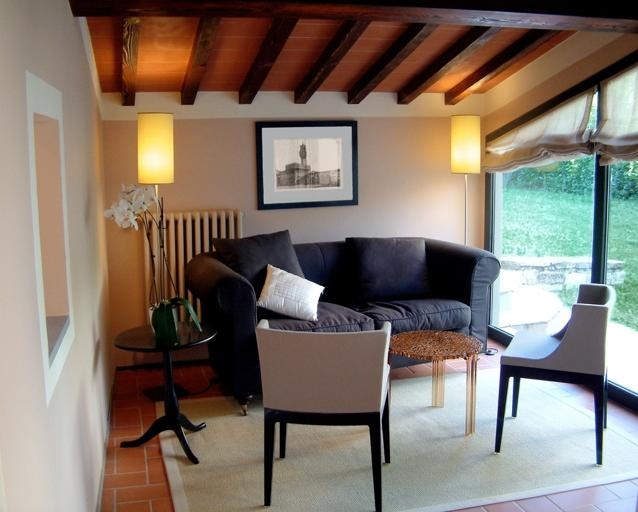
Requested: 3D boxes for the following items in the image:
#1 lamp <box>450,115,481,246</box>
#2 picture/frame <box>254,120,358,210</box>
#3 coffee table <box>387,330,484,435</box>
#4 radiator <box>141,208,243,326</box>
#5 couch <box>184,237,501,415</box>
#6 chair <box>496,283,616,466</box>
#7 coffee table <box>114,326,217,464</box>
[{"bbox_3d":[1.376,-0.689,5.090,0.288,1.222,0.551,2,11,16],"label":"lamp"},{"bbox_3d":[-0.157,-0.839,4.814,0.823,0.678,0.032,-2,7,-19],"label":"picture/frame"},{"bbox_3d":[0.854,0.826,3.481,0.561,0.447,0.587,2,-6,-7],"label":"coffee table"},{"bbox_3d":[-0.990,0.089,4.075,0.945,0.998,0.137,-3,10,-20],"label":"radiator"},{"bbox_3d":[0.208,0.410,4.384,2.488,1.184,1.060,-3,5,-23],"label":"couch"},{"bbox_3d":[1.458,0.708,3.331,0.792,0.860,0.784,-1,2,-3],"label":"chair"},{"bbox_3d":[-0.910,0.823,3.280,0.582,0.648,0.580,18,-42,-42],"label":"coffee table"}]
